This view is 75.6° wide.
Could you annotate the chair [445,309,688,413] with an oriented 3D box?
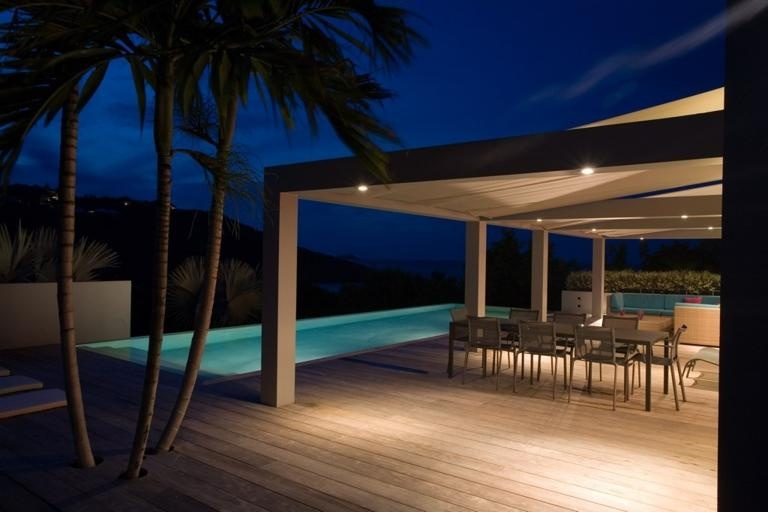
[{"bbox_3d":[2.900,1.484,7.803,3.213,1.158,2.182,4,6,36],"label":"chair"}]
